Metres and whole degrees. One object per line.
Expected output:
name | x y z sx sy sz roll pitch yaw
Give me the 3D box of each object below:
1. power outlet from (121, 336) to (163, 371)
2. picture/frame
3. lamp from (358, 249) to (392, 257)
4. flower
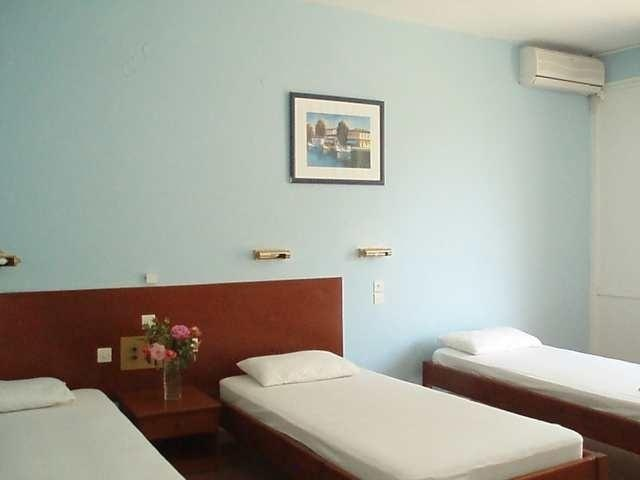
power outlet | -1.333 0.828 3.823 0.236 0.310 0.043 8 2 -17
picture/frame | 0.108 -0.884 4.509 0.793 0.701 0.029 -1 2 -20
lamp | 0.493 0.113 4.650 0.308 0.088 0.069 -2 3 -19
flower | -1.144 0.762 3.808 0.391 0.274 0.430 -4 9 35
